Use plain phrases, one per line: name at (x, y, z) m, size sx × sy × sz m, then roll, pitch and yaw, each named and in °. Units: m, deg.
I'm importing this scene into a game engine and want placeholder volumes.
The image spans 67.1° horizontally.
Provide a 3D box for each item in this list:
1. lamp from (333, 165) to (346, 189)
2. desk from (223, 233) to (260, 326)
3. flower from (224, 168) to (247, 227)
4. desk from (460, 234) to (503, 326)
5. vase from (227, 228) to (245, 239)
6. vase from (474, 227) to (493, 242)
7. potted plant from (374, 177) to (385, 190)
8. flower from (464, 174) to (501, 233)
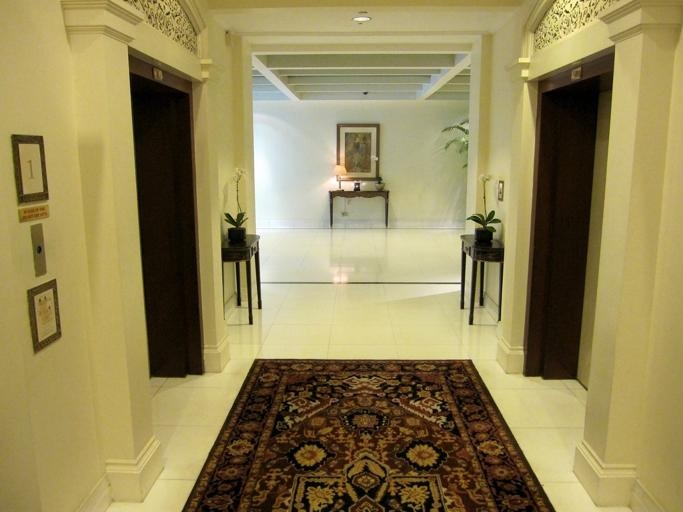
lamp at (-0.031, -1.873, 12.158) m, size 0.373 × 0.696 × 0.383 m, roll -1°, pitch 15°, yaw 2°
desk at (-1.115, 0.280, 5.909) m, size 0.359 × 0.858 × 0.928 m, roll 0°, pitch 9°, yaw -2°
flower at (-1.217, -0.640, 5.877) m, size 0.250 × 0.662 × 0.656 m, roll -2°, pitch 11°, yaw -10°
desk at (1.548, 0.254, 5.753) m, size 0.407 × 0.931 × 1.167 m, roll 2°, pitch 11°, yaw 10°
vase at (-1.148, -0.239, 5.646) m, size 0.130 × 0.091 × 0.132 m, roll 1°, pitch 9°, yaw -12°
vase at (1.508, -0.228, 5.490) m, size 0.148 × 0.150 × 0.152 m, roll -1°, pitch 5°, yaw -1°
potted plant at (0.894, -1.669, 12.075) m, size 0.244 × 0.330 × 0.236 m, roll -5°, pitch 10°, yaw -14°
flower at (1.548, -0.566, 5.614) m, size 0.447 × 0.631 × 0.416 m, roll -2°, pitch 5°, yaw -9°
